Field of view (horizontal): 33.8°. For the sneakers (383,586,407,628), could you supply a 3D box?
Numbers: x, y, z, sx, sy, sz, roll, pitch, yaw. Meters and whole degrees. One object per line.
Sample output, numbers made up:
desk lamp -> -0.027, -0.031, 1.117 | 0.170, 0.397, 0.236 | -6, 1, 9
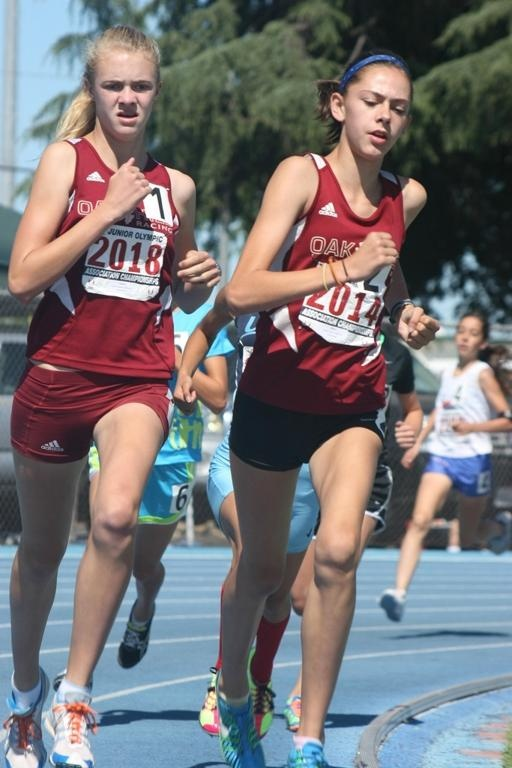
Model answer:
sneakers -> 0.782, 1.282, 4.799 | 0.092, 0.244, 0.109 | 0, 38, 16

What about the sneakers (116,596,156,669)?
sneakers -> -0.522, 1.083, 3.581 | 0.116, 0.331, 0.145 | 13, -4, -6

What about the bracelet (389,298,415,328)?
bracelet -> 0.427, -0.214, 2.482 | 0.027, 0.076, 0.066 | 38, -23, -28
